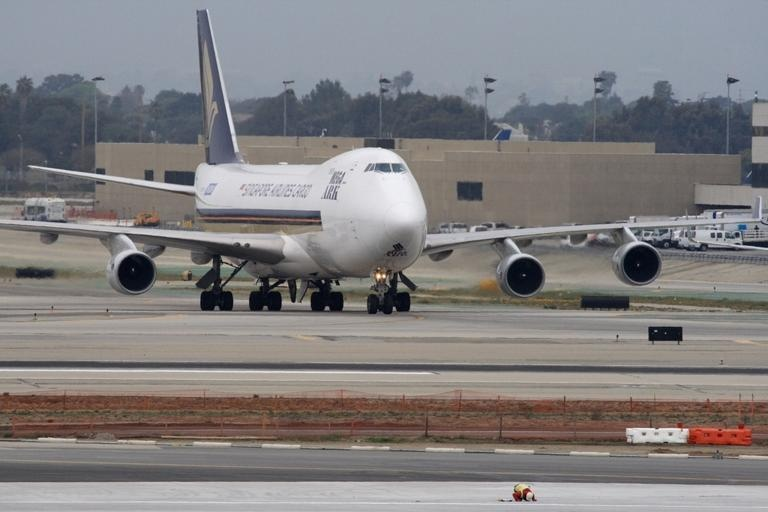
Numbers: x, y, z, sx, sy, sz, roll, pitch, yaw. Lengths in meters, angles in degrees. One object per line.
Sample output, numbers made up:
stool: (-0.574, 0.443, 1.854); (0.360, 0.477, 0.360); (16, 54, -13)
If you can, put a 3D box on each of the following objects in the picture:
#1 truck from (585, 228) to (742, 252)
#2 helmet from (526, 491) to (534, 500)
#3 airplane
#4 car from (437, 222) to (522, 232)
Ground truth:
truck: (17.810, -1.061, 117.299); (8.279, 1.232, 1.743); (0, 5, -2)
helmet: (5.393, 9.102, 69.535); (0.294, 0.283, 0.133); (0, -9, 5)
airplane: (5.336, -10.108, 111.940); (39.798, 21.368, 52.851); (3, 11, 12)
car: (6.510, -2.179, 131.109); (4.105, 0.901, 0.972); (0, 1, -1)
